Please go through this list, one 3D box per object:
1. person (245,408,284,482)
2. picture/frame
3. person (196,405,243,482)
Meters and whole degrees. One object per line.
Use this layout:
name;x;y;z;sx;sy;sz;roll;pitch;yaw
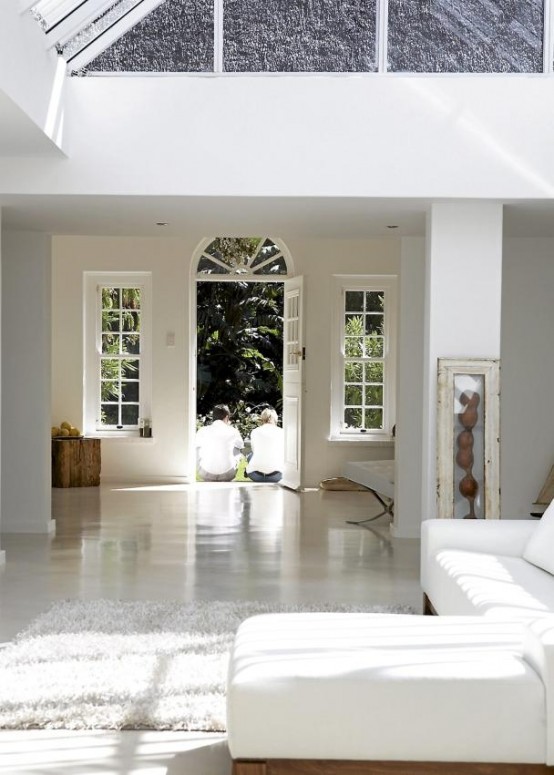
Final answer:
person;-0.166;0.884;9.213;0.512;0.761;0.374;1;-2;5
picture/frame;1.222;0.334;4.540;0.378;1.152;0.086;-5;-32;23
person;-0.782;0.765;9.538;0.610;1.021;0.760;1;-1;-5
